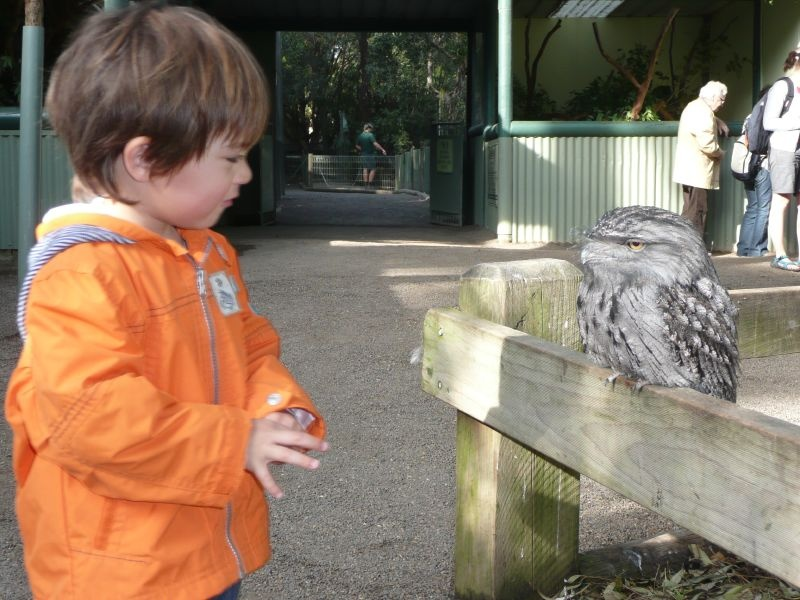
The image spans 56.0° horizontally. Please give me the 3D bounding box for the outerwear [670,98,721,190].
[{"bbox_3d":[3.911,-2.054,9.921,0.544,1.152,0.904,2,9,13],"label":"outerwear"}]

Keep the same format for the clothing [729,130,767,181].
[{"bbox_3d":[4.558,-1.833,9.967,0.387,0.755,0.509,6,5,-2],"label":"clothing"}]
